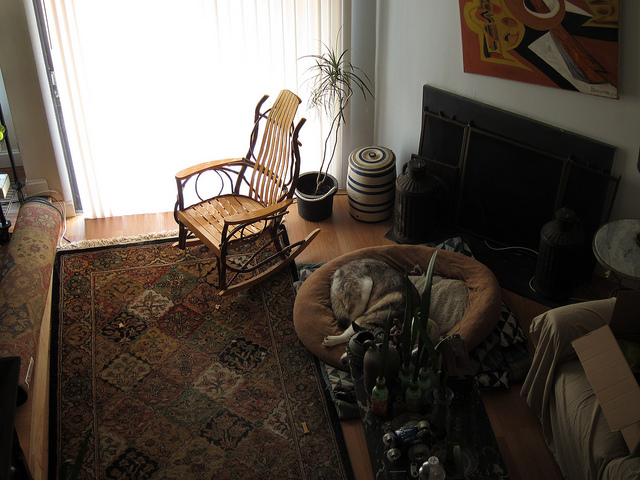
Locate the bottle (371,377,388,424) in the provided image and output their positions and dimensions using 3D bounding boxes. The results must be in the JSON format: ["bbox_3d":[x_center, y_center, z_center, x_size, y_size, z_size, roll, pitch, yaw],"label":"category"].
[{"bbox_3d":[0.279,0.721,2.219,0.076,0.211,0.123,2,31,4],"label":"bottle"}]

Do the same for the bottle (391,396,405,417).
[{"bbox_3d":[0.361,0.772,2.235,0.056,0.086,0.047,1,31,2],"label":"bottle"}]

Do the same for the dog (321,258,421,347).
[{"bbox_3d":[0.296,0.331,2.919,0.527,0.404,0.382,-3,29,-4],"label":"dog"}]

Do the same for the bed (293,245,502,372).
[{"bbox_3d":[0.543,0.362,3.083,1.468,0.272,1.393,-11,17,-5],"label":"bed"}]

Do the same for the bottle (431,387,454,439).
[{"bbox_3d":[0.551,0.763,2.168,0.131,0.247,0.148,-1,37,9],"label":"bottle"}]

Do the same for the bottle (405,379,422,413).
[{"bbox_3d":[0.430,0.705,2.226,0.063,0.183,0.066,2,25,-1],"label":"bottle"}]

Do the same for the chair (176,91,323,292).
[{"bbox_3d":[-0.520,-0.361,3.321,0.984,1.193,1.016,1,33,-6],"label":"chair"}]
